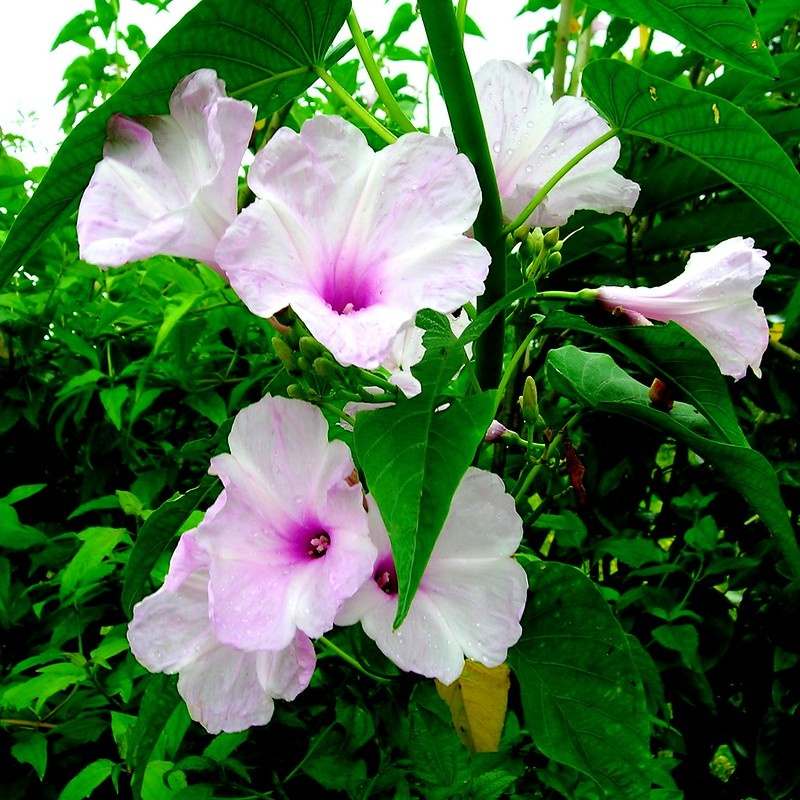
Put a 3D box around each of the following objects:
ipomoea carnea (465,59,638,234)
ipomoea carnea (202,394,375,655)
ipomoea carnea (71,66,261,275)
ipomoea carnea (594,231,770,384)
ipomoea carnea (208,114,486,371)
[{"bbox_3d":[0.192,-0.321,0.993,0.229,0.200,0.108,-1,8,-8],"label":"ipomoea carnea"},{"bbox_3d":[-0.125,0.133,0.781,0.176,0.188,0.240,-4,30,-16],"label":"ipomoea carnea"},{"bbox_3d":[-0.250,-0.223,0.810,0.170,0.249,0.242,13,0,-11],"label":"ipomoea carnea"},{"bbox_3d":[0.370,-0.115,0.974,0.222,0.125,0.134,17,3,21],"label":"ipomoea carnea"},{"bbox_3d":[-0.067,-0.153,0.779,0.280,0.140,0.258,5,-13,-14],"label":"ipomoea carnea"}]
